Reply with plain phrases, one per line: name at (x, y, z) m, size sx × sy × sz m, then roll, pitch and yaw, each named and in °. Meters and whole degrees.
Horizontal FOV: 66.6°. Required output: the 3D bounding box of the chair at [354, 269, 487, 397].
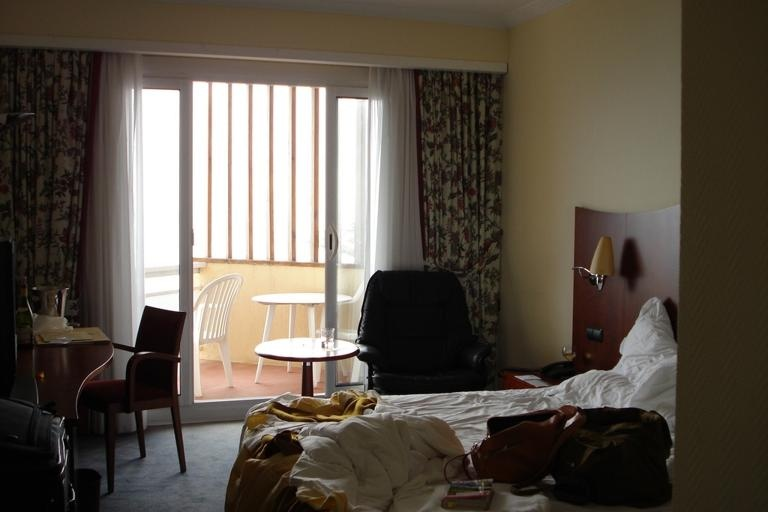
chair at (0.286, 0.601, 4.940) m, size 1.070 × 1.098 × 0.925 m, roll 0°, pitch -3°, yaw -7°

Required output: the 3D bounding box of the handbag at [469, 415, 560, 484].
handbag at (0.613, 0.862, 2.719) m, size 0.337 × 0.234 × 0.275 m, roll -8°, pitch -3°, yaw 8°

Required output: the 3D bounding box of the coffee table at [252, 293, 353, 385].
coffee table at (-0.976, 0.774, 6.133) m, size 0.939 × 0.812 × 1.020 m, roll 1°, pitch -6°, yaw -3°

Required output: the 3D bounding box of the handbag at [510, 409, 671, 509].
handbag at (1.031, 0.892, 2.663) m, size 0.456 × 0.228 × 0.394 m, roll 0°, pitch 0°, yaw 5°

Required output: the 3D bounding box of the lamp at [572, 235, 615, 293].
lamp at (1.515, 0.056, 4.158) m, size 0.221 × 0.356 × 0.330 m, roll 2°, pitch -4°, yaw -39°

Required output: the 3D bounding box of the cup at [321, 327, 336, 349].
cup at (-0.406, 0.635, 4.518) m, size 0.119 × 0.178 × 0.135 m, roll -3°, pitch -5°, yaw 39°

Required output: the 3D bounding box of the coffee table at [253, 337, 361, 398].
coffee table at (-0.581, 0.719, 4.375) m, size 0.543 × 0.409 × 0.555 m, roll -3°, pitch 8°, yaw -26°

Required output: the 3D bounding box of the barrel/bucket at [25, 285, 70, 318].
barrel/bucket at (-2.374, 0.319, 4.099) m, size 0.223 × 0.373 × 0.321 m, roll 1°, pitch -8°, yaw -20°

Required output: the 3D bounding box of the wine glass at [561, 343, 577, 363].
wine glass at (1.419, 0.741, 4.465) m, size 0.100 × 0.121 × 0.102 m, roll 4°, pitch 8°, yaw 33°
